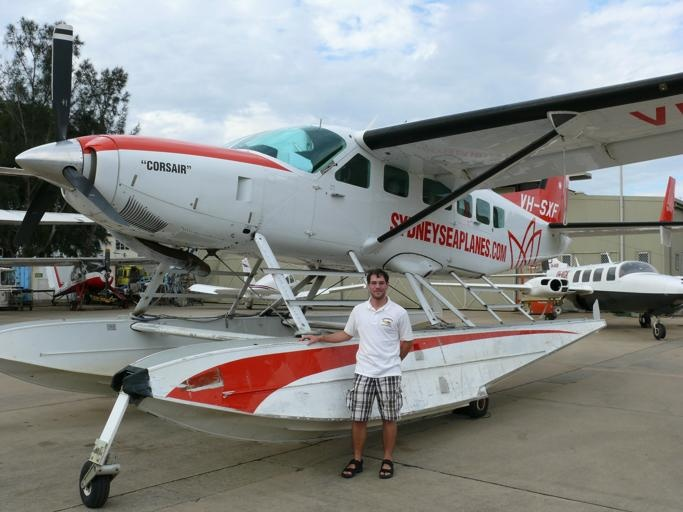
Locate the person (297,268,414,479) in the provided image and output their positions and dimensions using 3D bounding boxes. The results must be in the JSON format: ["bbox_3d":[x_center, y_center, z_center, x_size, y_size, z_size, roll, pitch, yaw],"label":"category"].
[{"bbox_3d":[0.219,1.035,5.323,0.782,1.841,0.466,2,-3,18],"label":"person"}]

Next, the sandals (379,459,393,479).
[{"bbox_3d":[0.399,1.865,5.116,0.125,0.147,0.144,2,-2,5],"label":"sandals"}]
